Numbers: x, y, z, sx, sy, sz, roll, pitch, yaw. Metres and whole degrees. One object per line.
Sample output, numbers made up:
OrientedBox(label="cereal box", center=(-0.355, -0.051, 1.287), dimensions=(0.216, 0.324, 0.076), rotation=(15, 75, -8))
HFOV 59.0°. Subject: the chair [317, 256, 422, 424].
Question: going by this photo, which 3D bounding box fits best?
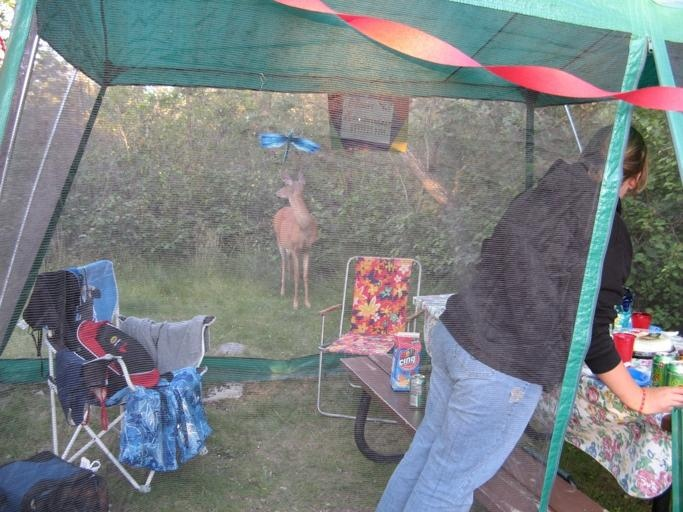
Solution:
OrientedBox(label="chair", center=(0.129, 0.307, 2.344), dimensions=(0.405, 0.530, 0.374), rotation=(4, 11, 0))
